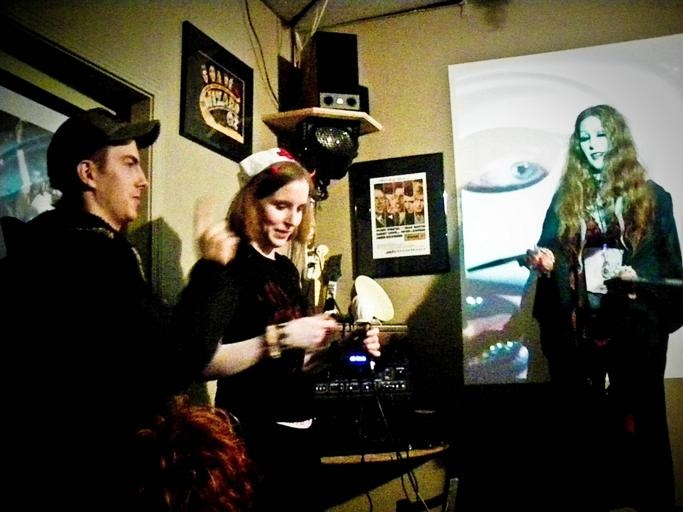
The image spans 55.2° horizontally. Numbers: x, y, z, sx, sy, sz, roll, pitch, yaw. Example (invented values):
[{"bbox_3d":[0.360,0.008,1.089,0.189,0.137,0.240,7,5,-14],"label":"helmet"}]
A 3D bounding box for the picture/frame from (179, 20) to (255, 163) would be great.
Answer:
[{"bbox_3d":[-0.653,-0.831,3.353,0.052,0.667,0.711,-10,-26,28],"label":"picture/frame"}]

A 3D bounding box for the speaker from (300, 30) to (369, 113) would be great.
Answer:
[{"bbox_3d":[-0.074,-1.035,3.779,0.417,0.461,0.325,-1,-2,12],"label":"speaker"}]
